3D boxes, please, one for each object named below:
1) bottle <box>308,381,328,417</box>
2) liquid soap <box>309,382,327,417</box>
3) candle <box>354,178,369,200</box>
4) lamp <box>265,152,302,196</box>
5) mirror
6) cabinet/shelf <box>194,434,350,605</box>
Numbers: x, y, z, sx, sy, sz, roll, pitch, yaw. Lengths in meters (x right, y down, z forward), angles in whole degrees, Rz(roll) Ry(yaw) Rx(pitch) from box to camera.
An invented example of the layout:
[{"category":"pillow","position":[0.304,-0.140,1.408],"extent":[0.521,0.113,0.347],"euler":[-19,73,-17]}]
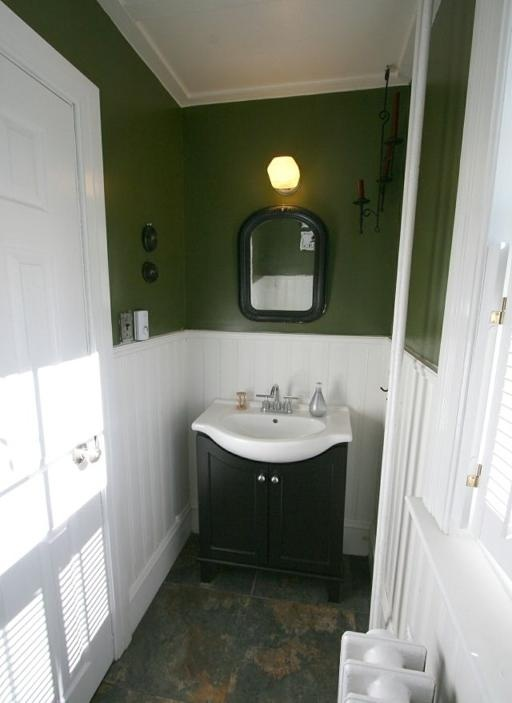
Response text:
[{"category":"bottle","position":[0.270,0.194,2.194],"extent":[0.085,0.220,0.107],"euler":[1,11,11]},{"category":"liquid soap","position":[0.271,0.202,2.222],"extent":[0.086,0.224,0.108],"euler":[1,11,8]},{"category":"candle","position":[0.436,-0.667,2.062],"extent":[0.051,0.097,0.195],"euler":[2,12,11]},{"category":"lamp","position":[0.118,-0.748,2.144],"extent":[0.144,0.145,0.170],"euler":[1,11,1]},{"category":"mirror","position":[0.129,-0.405,2.243],"extent":[0.330,0.647,0.055],"euler":[2,13,5]},{"category":"cabinet/shelf","position":[0.063,0.587,2.152],"extent":[0.606,0.928,0.343],"euler":[4,35,7]}]
